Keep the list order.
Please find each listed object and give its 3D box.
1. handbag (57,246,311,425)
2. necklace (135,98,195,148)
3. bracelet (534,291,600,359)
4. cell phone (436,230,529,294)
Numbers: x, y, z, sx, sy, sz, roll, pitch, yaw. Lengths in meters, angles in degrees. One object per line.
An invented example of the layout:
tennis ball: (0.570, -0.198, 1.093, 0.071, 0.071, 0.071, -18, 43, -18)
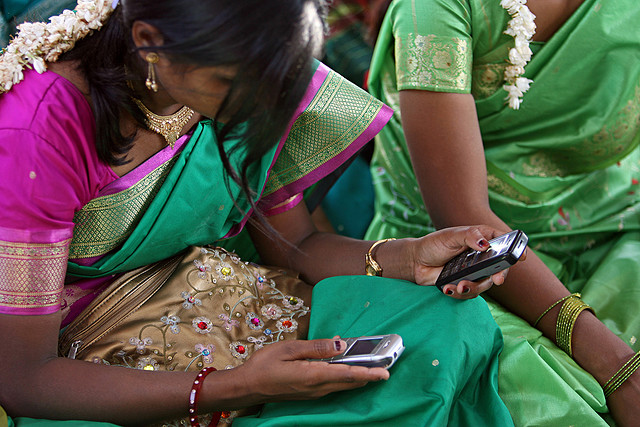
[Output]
handbag: (-0.426, 0.339, 1.913, 0.690, 0.254, 0.501, -34, 66, -30)
necklace: (-0.489, -0.291, 1.869, 0.133, 0.138, 0.052, -27, 4, -29)
bracelet: (0.817, 0.352, 1.924, 0.183, 0.170, 0.151, 2, 31, 40)
cell phone: (0.488, 0.159, 1.818, 0.069, 0.289, 0.160, 51, 37, -8)
